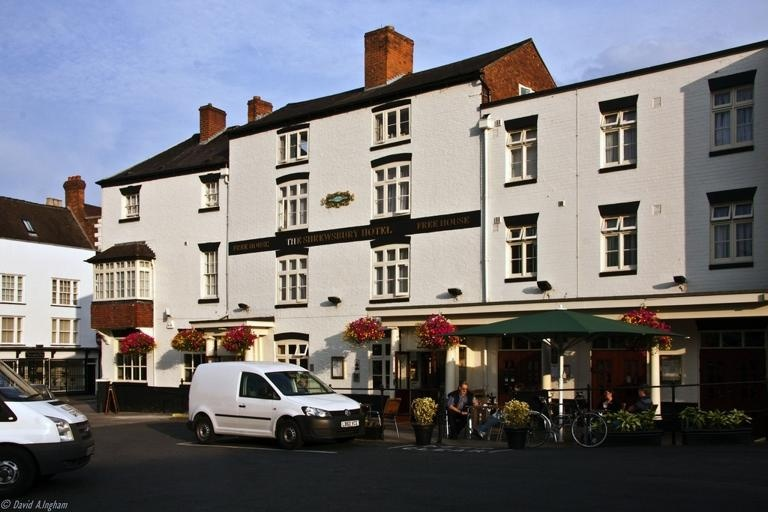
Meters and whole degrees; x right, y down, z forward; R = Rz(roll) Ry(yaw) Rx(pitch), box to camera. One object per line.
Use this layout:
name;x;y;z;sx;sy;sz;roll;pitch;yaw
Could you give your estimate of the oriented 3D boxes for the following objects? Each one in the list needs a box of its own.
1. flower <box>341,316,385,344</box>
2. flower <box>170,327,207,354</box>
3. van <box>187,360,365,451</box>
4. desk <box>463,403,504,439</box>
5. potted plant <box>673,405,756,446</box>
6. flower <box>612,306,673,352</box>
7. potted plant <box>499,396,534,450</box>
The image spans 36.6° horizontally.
flower;-0.832;3.192;49.635;1.361;0.847;1.339;0;0;8
flower;-9.362;4.063;55.725;1.375;0.824;1.162;6;-5;-13
van;-4.119;5.457;42.490;6.012;3.185;1.875;-5;-13;28
desk;3.827;6.220;43.755;1.281;1.058;1.228;0;0;-33
potted plant;11.474;5.936;40.611;2.209;1.254;0.709;0;-12;2
flower;9.881;2.723;43.545;1.817;1.053;1.744;-3;-4;13
potted plant;4.600;5.971;41.190;1.549;1.847;1.435;1;-13;-5
